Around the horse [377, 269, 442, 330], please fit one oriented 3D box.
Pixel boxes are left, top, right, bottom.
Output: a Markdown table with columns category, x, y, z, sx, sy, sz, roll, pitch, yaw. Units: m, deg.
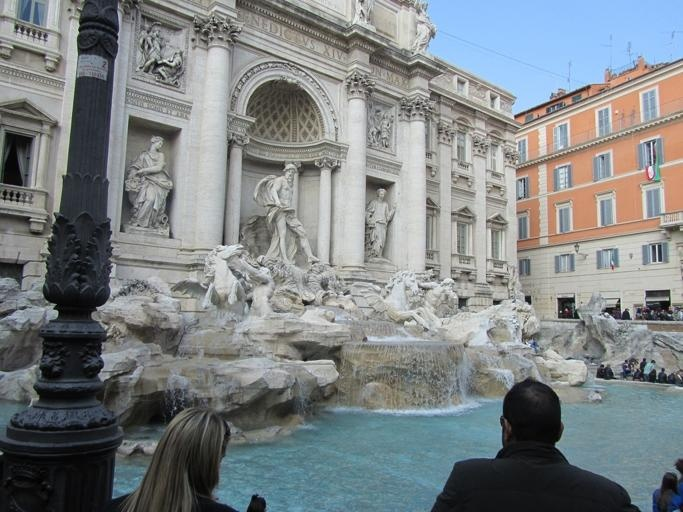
| category | x | y | z | sx | sy | sz | roll | pitch | yaw |
| --- | --- | --- | --- | --- | --- | --- | --- | --- | --- |
| horse | 2.275 | 1.415 | 16.501 | 1.777 | 1.875 | 1.275 | 2 | -5 | 5 |

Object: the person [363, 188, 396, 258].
| category | x | y | z | sx | sy | sz | roll | pitch | yaw |
| --- | --- | --- | --- | --- | --- | --- | --- | --- | --- |
| person | 1.724 | -1.386 | 23.304 | 0.785 | 3.229 | 1.544 | -2 | -7 | 42 |

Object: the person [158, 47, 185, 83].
| category | x | y | z | sx | sy | sz | roll | pitch | yaw |
| --- | --- | --- | --- | --- | --- | --- | --- | --- | --- |
| person | -6.041 | -6.732 | 17.706 | 0.878 | 1.219 | 0.814 | 12 | 8 | 1 |

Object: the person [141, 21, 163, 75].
| category | x | y | z | sx | sy | sz | roll | pitch | yaw |
| --- | --- | --- | --- | --- | --- | --- | --- | --- | --- |
| person | -6.581 | -7.115 | 17.190 | 0.679 | 1.792 | 0.216 | 5 | -6 | -25 |

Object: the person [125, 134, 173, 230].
| category | x | y | z | sx | sy | sz | roll | pitch | yaw |
| --- | --- | --- | --- | --- | --- | --- | --- | --- | --- |
| person | -6.547 | -2.367 | 17.003 | 1.490 | 3.230 | 0.658 | 4 | -6 | -22 |

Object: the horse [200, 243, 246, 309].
| category | x | y | z | sx | sy | sz | roll | pitch | yaw |
| --- | --- | --- | --- | --- | --- | --- | --- | --- | --- |
| horse | -2.970 | 0.546 | 12.706 | 1.069 | 1.701 | 0.887 | 3 | -5 | -7 |

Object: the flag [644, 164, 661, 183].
| category | x | y | z | sx | sy | sz | roll | pitch | yaw |
| --- | --- | --- | --- | --- | --- | --- | --- | --- | --- |
| flag | 17.564 | -4.613 | 28.204 | 0.661 | 0.839 | 0.849 | 4 | 2 | 37 |
